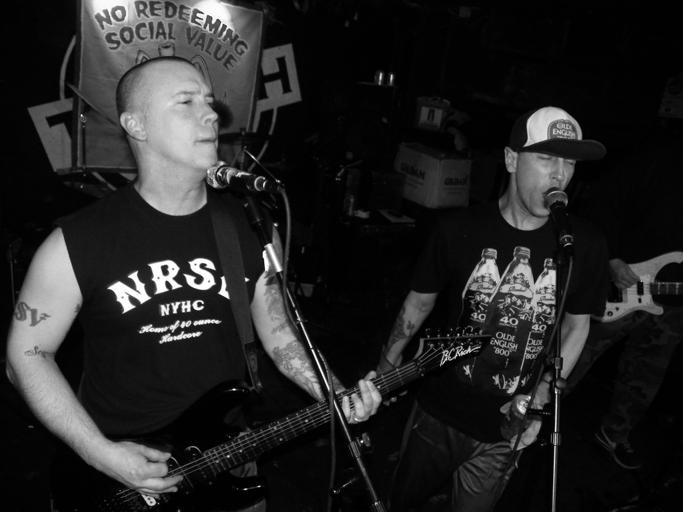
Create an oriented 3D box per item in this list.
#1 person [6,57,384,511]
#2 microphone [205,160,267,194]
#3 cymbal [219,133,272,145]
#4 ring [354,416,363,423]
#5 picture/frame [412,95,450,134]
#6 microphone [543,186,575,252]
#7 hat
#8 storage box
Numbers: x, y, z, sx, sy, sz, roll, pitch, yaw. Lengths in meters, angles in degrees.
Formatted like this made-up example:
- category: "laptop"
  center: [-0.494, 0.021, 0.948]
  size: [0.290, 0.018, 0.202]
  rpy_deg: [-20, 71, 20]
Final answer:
- category: "person"
  center: [-1.080, 0.077, 3.217]
  size: [0.698, 2.136, 0.988]
  rpy_deg: [15, 18, 39]
- category: "microphone"
  center: [-0.478, -0.358, 2.991]
  size: [0.136, 0.145, 0.400]
  rpy_deg: [5, 10, -44]
- category: "cymbal"
  center: [-0.868, -1.057, 5.628]
  size: [0.246, 0.050, 0.249]
  rpy_deg: [-17, 30, -25]
- category: "ring"
  center: [0.081, 0.847, 3.255]
  size: [0.038, 0.039, 0.041]
  rpy_deg: [0, 11, 0]
- category: "picture/frame"
  center: [0.996, -1.603, 7.136]
  size: [0.369, 0.373, 0.380]
  rpy_deg: [9, 30, 2]
- category: "microphone"
  center: [1.149, -0.193, 3.307]
  size: [0.111, 0.110, 0.363]
  rpy_deg: [-1, 46, -2]
- category: "hat"
  center: [1.255, -0.698, 3.754]
  size: [0.315, 0.261, 0.491]
  rpy_deg: [5, 3, -42]
- category: "storage box"
  center: [0.978, -0.916, 7.114]
  size: [0.447, 0.577, 0.836]
  rpy_deg: [-1, 19, -29]
